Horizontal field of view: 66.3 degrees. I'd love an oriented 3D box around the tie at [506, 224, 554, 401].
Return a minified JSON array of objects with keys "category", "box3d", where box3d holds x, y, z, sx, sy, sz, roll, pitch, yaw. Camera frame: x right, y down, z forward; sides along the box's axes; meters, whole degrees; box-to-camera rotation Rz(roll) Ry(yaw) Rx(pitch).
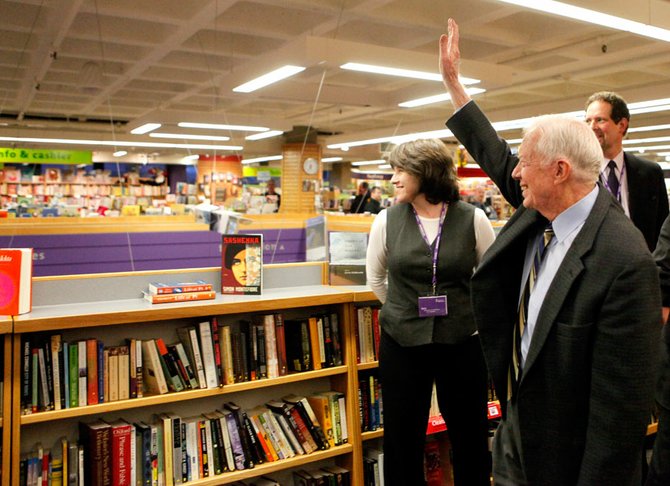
[{"category":"tie","box3d":[0.716,0.242,1.917,0.094,0.769,0.112,11,-6,10]}]
